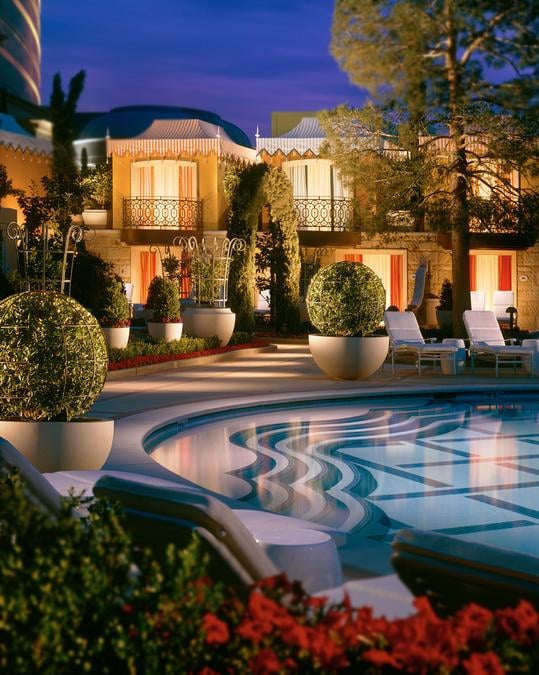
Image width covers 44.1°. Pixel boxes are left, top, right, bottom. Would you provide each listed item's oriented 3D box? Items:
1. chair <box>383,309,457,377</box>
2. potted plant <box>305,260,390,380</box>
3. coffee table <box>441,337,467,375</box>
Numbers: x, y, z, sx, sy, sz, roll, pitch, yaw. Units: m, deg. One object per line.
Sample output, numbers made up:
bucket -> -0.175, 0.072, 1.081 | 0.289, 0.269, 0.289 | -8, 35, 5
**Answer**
chair -> 2.821, 0.064, 12.789 | 0.872, 1.203, 1.522 | 0, 0, -20
potted plant -> 1.364, -0.246, 11.830 | 1.315, 2.151, 1.431 | 0, -1, -7
coffee table -> 3.442, 0.383, 12.693 | 0.534, 0.843, 0.553 | -1, -1, 28
